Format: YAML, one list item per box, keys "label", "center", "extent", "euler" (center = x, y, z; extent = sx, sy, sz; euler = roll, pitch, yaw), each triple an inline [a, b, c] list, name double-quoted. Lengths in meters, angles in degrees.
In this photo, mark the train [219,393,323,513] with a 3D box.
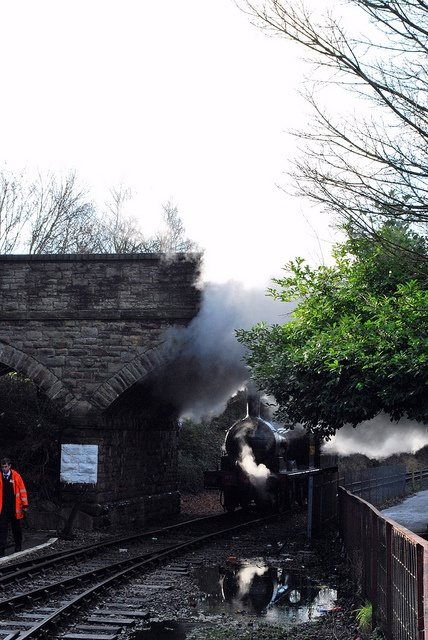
- label: "train"
  center: [1.659, 3.813, 19.825]
  extent: [1.618, 2.300, 4.459]
  euler: [-3, -9, 13]
